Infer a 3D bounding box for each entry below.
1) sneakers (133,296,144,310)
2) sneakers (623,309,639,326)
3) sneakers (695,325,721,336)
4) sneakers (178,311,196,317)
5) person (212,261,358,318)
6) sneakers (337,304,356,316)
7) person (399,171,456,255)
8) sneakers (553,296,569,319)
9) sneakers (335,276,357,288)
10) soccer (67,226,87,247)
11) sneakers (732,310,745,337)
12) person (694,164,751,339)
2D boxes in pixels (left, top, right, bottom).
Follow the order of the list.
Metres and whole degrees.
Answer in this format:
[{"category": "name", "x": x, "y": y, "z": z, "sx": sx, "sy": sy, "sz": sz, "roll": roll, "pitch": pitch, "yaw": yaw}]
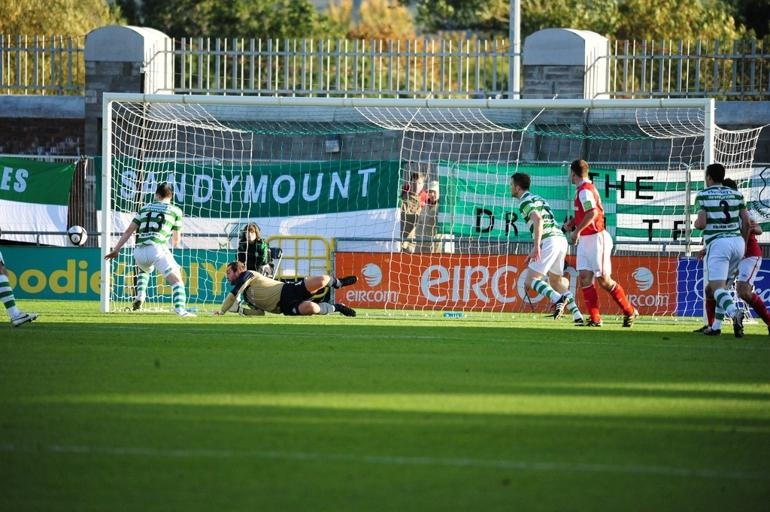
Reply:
[{"category": "sneakers", "x": -4.506, "y": 0.861, "z": 23.559, "sx": 0.177, "sy": 0.255, "sz": 0.099, "roll": -3, "pitch": -41, "yaw": 13}, {"category": "sneakers", "x": 4.287, "y": 1.088, "z": 22.601, "sx": 0.199, "sy": 0.259, "sz": 0.599, "roll": 4, "pitch": 3, "yaw": 9}, {"category": "sneakers", "x": 5.381, "y": 1.241, "z": 21.536, "sx": 0.441, "sy": 0.195, "sz": 0.153, "roll": 3, "pitch": -1, "yaw": 44}, {"category": "sneakers", "x": -3.585, "y": 1.047, "z": 23.334, "sx": 0.332, "sy": 0.143, "sz": 0.112, "roll": -1, "pitch": 2, "yaw": -8}, {"category": "person", "x": -1.789, "y": 0.588, "z": 23.253, "sx": 2.484, "sy": 1.073, "sz": 1.031, "roll": 5, "pitch": -33, "yaw": -4}, {"category": "sneakers", "x": -0.690, "y": 0.970, "z": 23.069, "sx": 0.454, "sy": 0.166, "sz": 0.145, "roll": 14, "pitch": -5, "yaw": -35}, {"category": "person", "x": 0.727, "y": -0.879, "z": 25.918, "sx": 1.123, "sy": 1.573, "sz": 0.473, "roll": 5, "pitch": 0, "yaw": 16}, {"category": "sneakers", "x": 3.091, "y": 0.892, "z": 22.885, "sx": 0.245, "sy": 0.190, "sz": 0.553, "roll": 10, "pitch": -43, "yaw": -2}, {"category": "sneakers", "x": -0.654, "y": 0.470, "z": 23.628, "sx": 0.537, "sy": 0.165, "sz": 0.237, "roll": -11, "pitch": 6, "yaw": -7}, {"category": "soccer", "x": -6.199, "y": -0.495, "z": 25.988, "sx": 0.409, "sy": 0.412, "sz": 0.465, "roll": 19, "pitch": -13, "yaw": -10}, {"category": "sneakers", "x": 5.780, "y": 1.088, "z": 20.995, "sx": 0.195, "sy": 0.514, "sz": 0.249, "roll": -2, "pitch": -4, "yaw": -2}, {"category": "person", "x": 5.559, "y": -0.111, "z": 21.341, "sx": 0.840, "sy": 2.837, "sz": 0.921, "roll": 2, "pitch": 5, "yaw": 23}]
